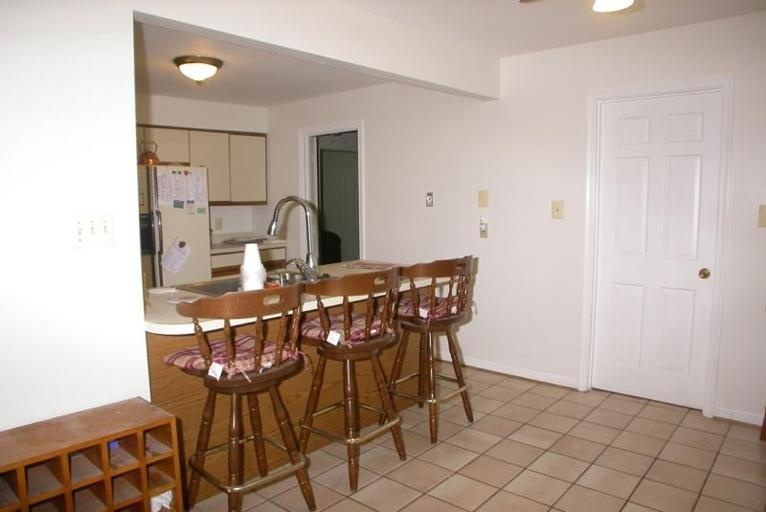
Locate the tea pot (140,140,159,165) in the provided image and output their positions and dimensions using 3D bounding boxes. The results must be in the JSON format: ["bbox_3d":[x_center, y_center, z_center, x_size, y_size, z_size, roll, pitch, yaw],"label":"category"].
[{"bbox_3d":[-2.499,-1.108,5.482,0.190,0.229,0.381,-7,15,-23],"label":"tea pot"}]

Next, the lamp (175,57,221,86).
[{"bbox_3d":[-1.611,-1.606,4.427,0.271,0.107,0.263,2,10,13],"label":"lamp"}]

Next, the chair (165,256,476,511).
[{"bbox_3d":[-0.392,0.852,3.245,0.493,0.874,1.488,9,10,41],"label":"chair"}]
